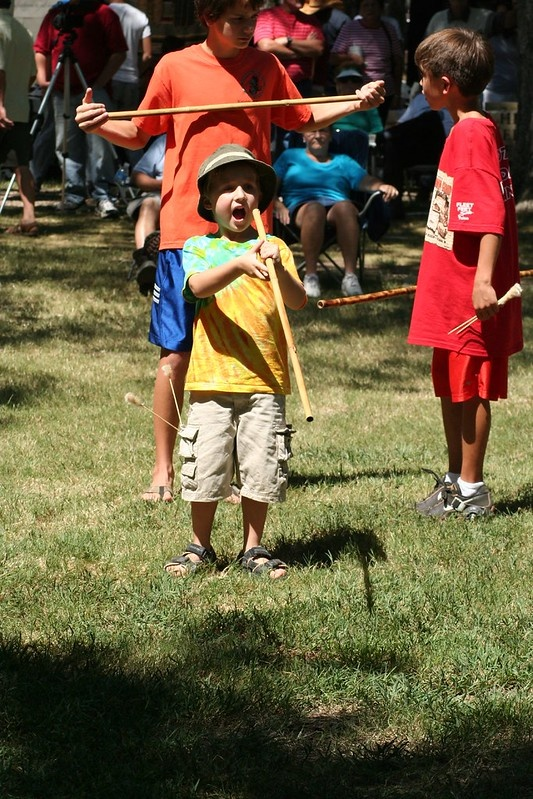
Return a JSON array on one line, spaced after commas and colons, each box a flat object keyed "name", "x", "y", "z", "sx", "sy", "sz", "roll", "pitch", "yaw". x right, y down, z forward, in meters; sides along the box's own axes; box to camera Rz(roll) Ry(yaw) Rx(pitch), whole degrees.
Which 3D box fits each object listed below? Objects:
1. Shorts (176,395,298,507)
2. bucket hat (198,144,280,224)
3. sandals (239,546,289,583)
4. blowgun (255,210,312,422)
[{"name": "Shorts", "x": -0.096, "y": 0.143, "z": 2.832, "sx": 0.331, "sy": 0.332, "sz": 0.130, "roll": 2, "pitch": 12, "yaw": -3}, {"name": "bucket hat", "x": -0.111, "y": -0.696, "z": 2.861, "sx": 0.224, "sy": 0.126, "sz": 0.264, "roll": -14, "pitch": -17, "yaw": -22}, {"name": "sandals", "x": -0.003, "y": 0.512, "z": 2.900, "sx": 0.080, "sy": 0.050, "sz": 0.138, "roll": -6, "pitch": 12, "yaw": -36}, {"name": "blowgun", "x": 0.058, "y": -0.212, "z": 2.603, "sx": 0.227, "sy": 0.596, "sz": 0.229, "roll": -3, "pitch": 25, "yaw": -11}]
